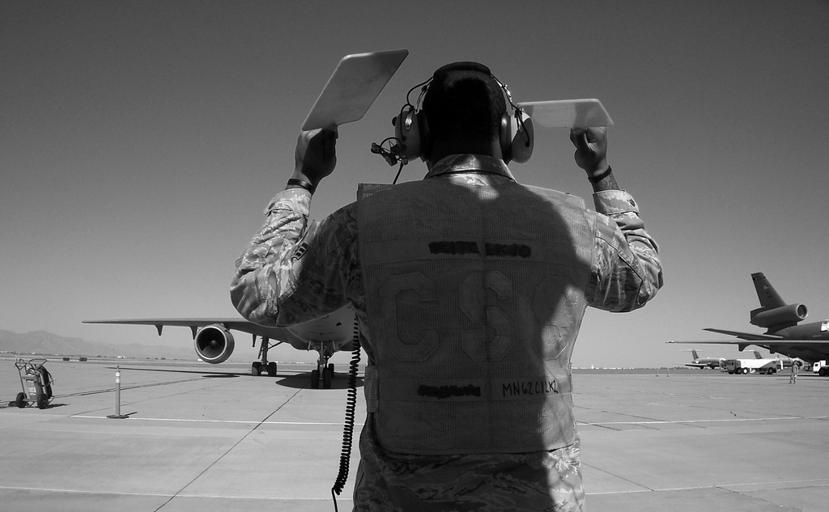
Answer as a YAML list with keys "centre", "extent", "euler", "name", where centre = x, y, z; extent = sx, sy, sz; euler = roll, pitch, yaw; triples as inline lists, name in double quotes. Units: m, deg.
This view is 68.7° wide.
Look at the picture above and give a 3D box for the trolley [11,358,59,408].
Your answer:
- centre: [-10.667, 3.487, 17.086]
  extent: [0.847, 1.088, 3.585]
  euler: [2, -2, -33]
  name: "trolley"
